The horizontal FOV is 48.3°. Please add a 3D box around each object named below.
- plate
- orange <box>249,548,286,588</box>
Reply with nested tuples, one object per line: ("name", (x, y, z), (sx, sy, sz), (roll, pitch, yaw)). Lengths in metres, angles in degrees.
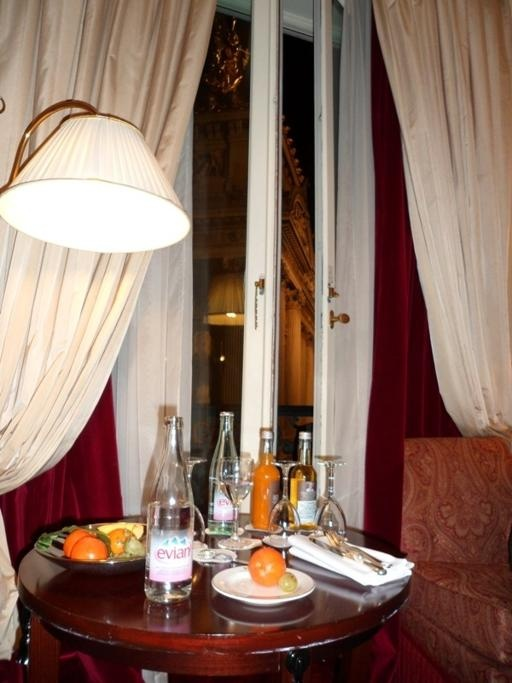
("plate", (0.005, 0.382, 0.891), (0.076, 0.013, 0.084), (0, 2, -23))
("orange", (0.017, 0.349, 0.890), (0.052, 0.061, 0.054), (22, -21, -29))
